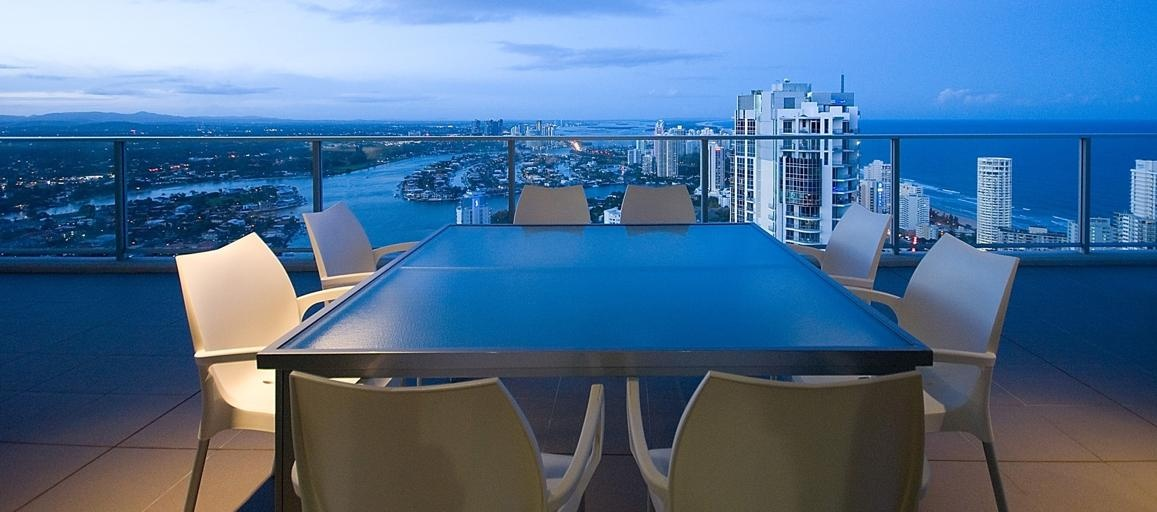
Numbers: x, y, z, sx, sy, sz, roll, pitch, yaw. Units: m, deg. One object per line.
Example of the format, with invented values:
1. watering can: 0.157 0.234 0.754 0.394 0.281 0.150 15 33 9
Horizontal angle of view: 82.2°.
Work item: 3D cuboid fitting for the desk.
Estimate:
1. desk: 0.142 1.279 7.872 3.945 1.659 3.669 0 11 0
